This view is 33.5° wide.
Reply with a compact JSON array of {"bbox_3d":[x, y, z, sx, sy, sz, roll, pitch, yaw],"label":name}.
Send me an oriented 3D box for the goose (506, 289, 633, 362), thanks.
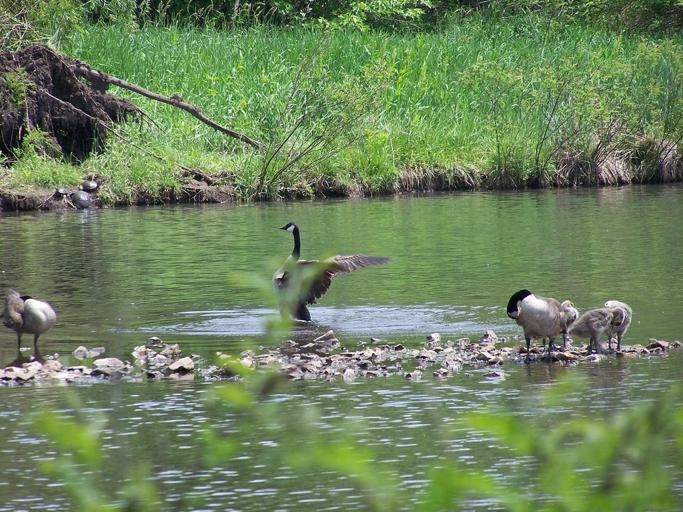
[{"bbox_3d":[2.001,0.561,10.253,1.024,0.737,0.783,-4,5,-36],"label":"goose"}]
